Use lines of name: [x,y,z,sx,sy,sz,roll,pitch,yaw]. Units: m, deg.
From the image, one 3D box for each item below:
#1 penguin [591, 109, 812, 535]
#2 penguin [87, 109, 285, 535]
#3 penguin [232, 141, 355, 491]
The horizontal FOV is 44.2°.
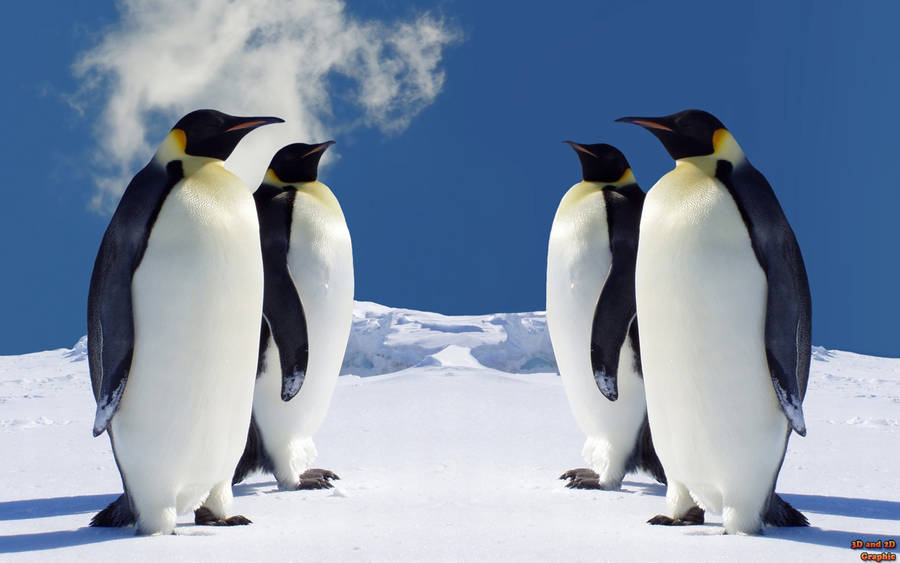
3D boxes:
penguin: [1.874,0.294,7.888,1.945,2.896,1.455,4,-3,-11]
penguin: [-1.840,0.296,7.725,1.498,2.799,1.772,-1,-2,-36]
penguin: [-1.214,0.285,8.260,1.066,2.741,1.336,0,-1,-6]
